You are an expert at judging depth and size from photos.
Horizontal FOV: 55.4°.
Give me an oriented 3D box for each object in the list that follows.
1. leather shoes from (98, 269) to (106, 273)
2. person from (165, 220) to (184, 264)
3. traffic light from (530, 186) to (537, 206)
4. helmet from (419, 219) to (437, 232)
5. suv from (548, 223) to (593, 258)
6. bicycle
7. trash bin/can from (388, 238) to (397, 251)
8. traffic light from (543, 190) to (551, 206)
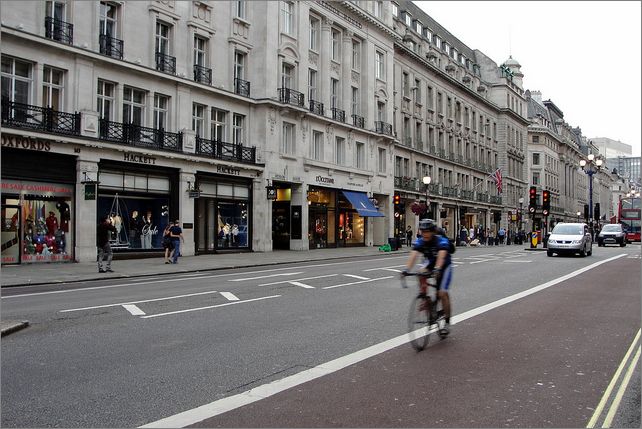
[{"bbox_3d":[-8.452,2.161,23.486,0.117,0.166,0.370,0,1,1],"label":"leather shoes"},{"bbox_3d":[-6.579,1.239,27.615,0.718,2.029,0.781,4,-6,6],"label":"person"},{"bbox_3d":[14.171,-1.212,40.674,0.342,1.215,0.693,2,5,19],"label":"traffic light"},{"bbox_3d":[2.250,0.183,12.726,0.299,0.251,0.279,17,-22,-33],"label":"helmet"},{"bbox_3d":[13.701,1.466,33.687,1.766,1.797,2.814,4,6,38],"label":"suv"},{"bbox_3d":[2.130,1.924,12.495,0.383,1.556,1.264,4,6,41],"label":"bicycle"},{"bbox_3d":[4.977,2.010,41.798,0.623,1.252,0.659,-1,-8,7],"label":"trash bin/can"},{"bbox_3d":[14.706,-1.059,39.751,0.353,1.065,0.876,1,5,14],"label":"traffic light"}]
